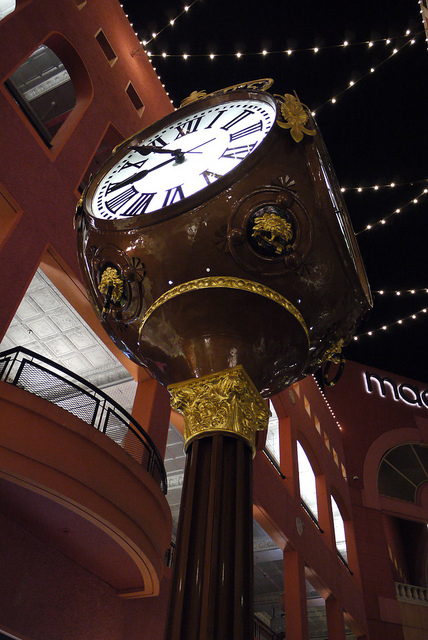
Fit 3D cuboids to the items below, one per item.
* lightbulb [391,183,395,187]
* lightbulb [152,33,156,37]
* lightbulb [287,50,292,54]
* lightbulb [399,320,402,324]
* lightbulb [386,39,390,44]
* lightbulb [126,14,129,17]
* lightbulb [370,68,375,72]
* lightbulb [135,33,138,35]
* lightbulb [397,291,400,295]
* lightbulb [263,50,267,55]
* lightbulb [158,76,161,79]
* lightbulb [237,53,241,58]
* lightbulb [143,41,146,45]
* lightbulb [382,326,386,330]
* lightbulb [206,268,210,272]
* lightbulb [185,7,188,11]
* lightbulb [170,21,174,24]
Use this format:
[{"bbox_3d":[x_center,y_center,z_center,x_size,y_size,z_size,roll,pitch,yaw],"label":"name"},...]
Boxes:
[{"bbox_3d":[4.607,-3.495,12.732,0.074,0.077,0.074,7,-9,-12],"label":"lightbulb"},{"bbox_3d":[-1.210,-5.689,9.856,0.072,0.048,0.052,16,-43,-7],"label":"lightbulb"},{"bbox_3d":[1.591,-5.713,10.499,0.099,0.063,0.086,9,-43,0],"label":"lightbulb"},{"bbox_3d":[6.305,0.061,16.715,0.062,0.115,0.114,6,-31,16],"label":"lightbulb"},{"bbox_3d":[3.566,-5.728,10.137,0.030,0.035,0.115,27,-17,16],"label":"lightbulb"},{"bbox_3d":[-1.672,-5.858,9.488,0.042,0.048,0.044,4,-43,6],"label":"lightbulb"},{"bbox_3d":[3.515,-5.572,10.963,0.099,0.101,0.101,17,6,21],"label":"lightbulb"},{"bbox_3d":[-1.546,-5.664,9.754,0.041,0.048,0.029,9,-43,1],"label":"lightbulb"},{"bbox_3d":[5.819,-0.857,15.598,0.085,0.116,0.083,2,-7,-36],"label":"lightbulb"},{"bbox_3d":[1.063,-5.666,10.426,0.071,0.044,0.098,8,-43,1],"label":"lightbulb"},{"bbox_3d":[-1.162,-5.077,10.319,0.065,0.066,0.029,42,-47,18],"label":"lightbulb"},{"bbox_3d":[0.518,-5.625,10.462,0.090,0.039,0.091,0,-44,10],"label":"lightbulb"},{"bbox_3d":[-1.405,-5.562,9.887,0.051,0.048,0.052,12,-43,-4],"label":"lightbulb"},{"bbox_3d":[5.734,0.251,16.640,0.093,0.081,0.078,5,-67,-53],"label":"lightbulb"},{"bbox_3d":[-0.029,-0.226,2.227,0.014,0.013,0.013,-1,-44,10],"label":"lightbulb"},{"bbox_3d":[-0.553,-6.125,9.687,0.049,0.043,0.040,18,-44,-10],"label":"lightbulb"},{"bbox_3d":[-0.835,-5.846,9.693,0.072,0.020,0.059,8,-43,1],"label":"lightbulb"}]
